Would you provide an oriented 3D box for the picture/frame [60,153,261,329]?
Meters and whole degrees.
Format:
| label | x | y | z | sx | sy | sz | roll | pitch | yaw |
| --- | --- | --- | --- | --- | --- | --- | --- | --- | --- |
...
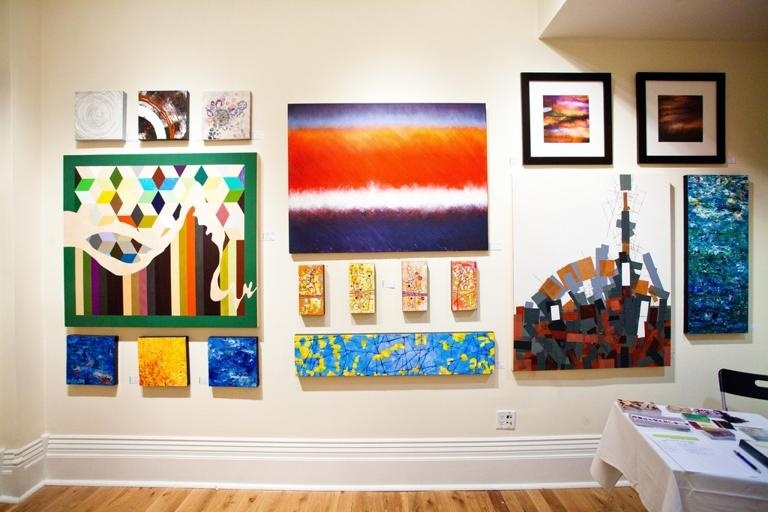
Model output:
| label | x | y | z | sx | sy | sz | roll | pitch | yaw |
| --- | --- | --- | --- | --- | --- | --- | --- | --- | --- |
| picture/frame | -1.729 | -0.143 | 5.170 | 1.368 | 1.158 | 0.048 | 0 | 3 | 3 |

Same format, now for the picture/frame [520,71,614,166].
| label | x | y | z | sx | sy | sz | roll | pitch | yaw |
| --- | --- | --- | --- | --- | --- | --- | --- | --- | --- |
| picture/frame | 1.444 | -1.082 | 5.182 | 0.718 | 0.723 | 0.025 | -1 | 3 | -1 |

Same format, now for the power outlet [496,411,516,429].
| label | x | y | z | sx | sy | sz | roll | pitch | yaw |
| --- | --- | --- | --- | --- | --- | --- | --- | --- | --- |
| power outlet | 0.963 | 1.294 | 5.189 | 0.141 | 0.137 | 0.046 | 1 | -1 | -2 |

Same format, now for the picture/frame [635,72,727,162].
| label | x | y | z | sx | sy | sz | roll | pitch | yaw |
| --- | --- | --- | --- | --- | --- | --- | --- | --- | --- |
| picture/frame | 2.352 | -1.099 | 5.202 | 0.705 | 0.707 | 0.055 | 0 | -1 | -3 |
